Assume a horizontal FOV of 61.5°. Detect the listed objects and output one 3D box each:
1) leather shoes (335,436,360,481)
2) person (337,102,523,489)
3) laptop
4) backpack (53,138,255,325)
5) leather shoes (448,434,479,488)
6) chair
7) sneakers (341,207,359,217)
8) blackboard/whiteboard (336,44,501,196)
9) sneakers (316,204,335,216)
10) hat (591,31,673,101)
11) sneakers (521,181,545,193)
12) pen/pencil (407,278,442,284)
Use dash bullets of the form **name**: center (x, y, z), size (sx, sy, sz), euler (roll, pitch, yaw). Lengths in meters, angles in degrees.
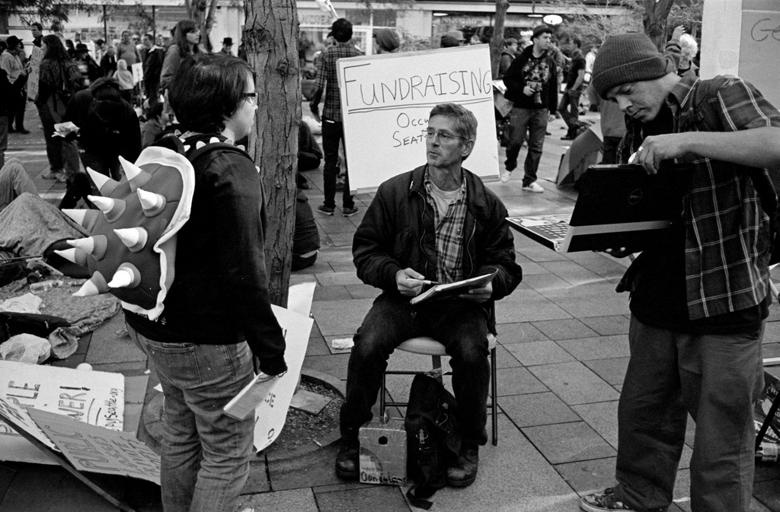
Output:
- **leather shoes**: center (-0.280, 1.286, 4.237), size (0.158, 0.219, 0.252), euler (-2, 14, -2)
- **person**: center (0.246, 0.211, 4.270), size (1.250, 2.319, 0.926), euler (-3, 14, -6)
- **laptop**: center (1.119, -0.303, 3.540), size (0.595, 0.415, 0.486), euler (-4, 26, -20)
- **backpack**: center (-1.181, -0.144, 3.055), size (0.749, 0.969, 0.471), euler (43, 5, 41)
- **leather shoes**: center (0.469, 1.322, 4.165), size (0.138, 0.151, 0.336), euler (1, 4, 18)
- **chair**: center (0.348, 0.816, 4.544), size (0.765, 0.821, 0.714), euler (-1, -3, 2)
- **sneakers**: center (-0.582, -0.636, 9.400), size (0.241, 0.104, 0.093), euler (-9, 16, -14)
- **blackboard/whiteboard**: center (0.244, -1.178, 5.651), size (1.343, 1.146, 0.128), euler (-7, 15, -11)
- **sneakers**: center (-0.927, -0.677, 9.430), size (0.114, 0.113, 0.264), euler (-10, 24, -41)
- **hat**: center (1.267, -0.975, 3.493), size (0.336, 0.278, 0.319), euler (-10, 6, 0)
- **sneakers**: center (2.366, -1.133, 10.873), size (0.398, 0.171, 0.151), euler (8, 12, 43)
- **pen/pencil**: center (0.209, 0.159, 4.225), size (0.120, 0.020, 0.019), euler (8, 17, -15)
